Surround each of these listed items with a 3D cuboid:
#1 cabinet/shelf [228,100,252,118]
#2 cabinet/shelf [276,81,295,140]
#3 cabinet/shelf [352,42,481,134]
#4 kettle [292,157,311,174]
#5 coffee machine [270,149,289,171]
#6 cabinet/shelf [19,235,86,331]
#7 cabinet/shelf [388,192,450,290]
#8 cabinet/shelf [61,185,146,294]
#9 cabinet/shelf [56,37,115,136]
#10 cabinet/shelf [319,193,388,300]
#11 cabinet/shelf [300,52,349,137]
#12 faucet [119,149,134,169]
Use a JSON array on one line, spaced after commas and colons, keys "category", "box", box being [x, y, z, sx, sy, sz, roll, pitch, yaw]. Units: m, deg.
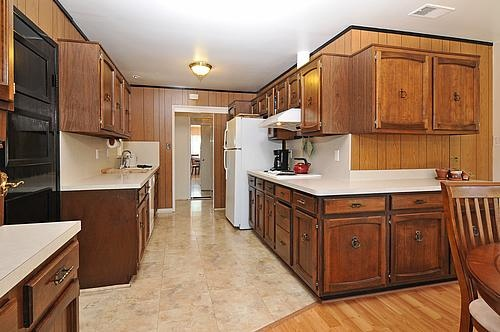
[{"category": "cabinet/shelf", "box": [-0.211, -1.070, 6.679, 0.361, 0.361, 0.554, 1, 2, -6]}, {"category": "cabinet/shelf", "box": [0.625, -0.883, 5.373, 0.254, 0.810, 0.491, 4, 17, 25]}, {"category": "cabinet/shelf", "box": [1.936, -0.830, 4.215, 1.610, 0.934, 0.504, -2, 4, -22]}, {"category": "kettle", "box": [0.718, -0.002, 4.946, 0.274, 0.227, 0.195, 1, -4, -8]}, {"category": "coffee machine", "box": [0.418, -0.068, 5.320, 0.293, 0.338, 0.349, 1, -1, 0]}, {"category": "cabinet/shelf", "box": [-1.202, 0.763, 2.230, 0.355, 0.196, 0.403, -1, 2, -10]}, {"category": "cabinet/shelf", "box": [1.673, 0.686, 3.907, 0.766, 0.938, 0.714, -2, 5, 6]}, {"category": "cabinet/shelf", "box": [-1.675, 0.721, 4.335, 0.754, 1.048, 1.177, -1, 7, -10]}, {"category": "cabinet/shelf", "box": [-1.765, -0.820, 3.756, 0.416, 0.976, 1.161, -1, 3, -16]}, {"category": "cabinet/shelf", "box": [0.974, 0.750, 3.809, 0.866, 1.014, 0.827, -3, 4, -25]}, {"category": "cabinet/shelf", "box": [0.924, -0.833, 4.387, 0.498, 0.866, 0.663, -1, 5, -3]}, {"category": "faucet", "box": [-2.182, -0.121, 6.185, 0.224, 0.346, 0.374, 2, 3, 15]}]
